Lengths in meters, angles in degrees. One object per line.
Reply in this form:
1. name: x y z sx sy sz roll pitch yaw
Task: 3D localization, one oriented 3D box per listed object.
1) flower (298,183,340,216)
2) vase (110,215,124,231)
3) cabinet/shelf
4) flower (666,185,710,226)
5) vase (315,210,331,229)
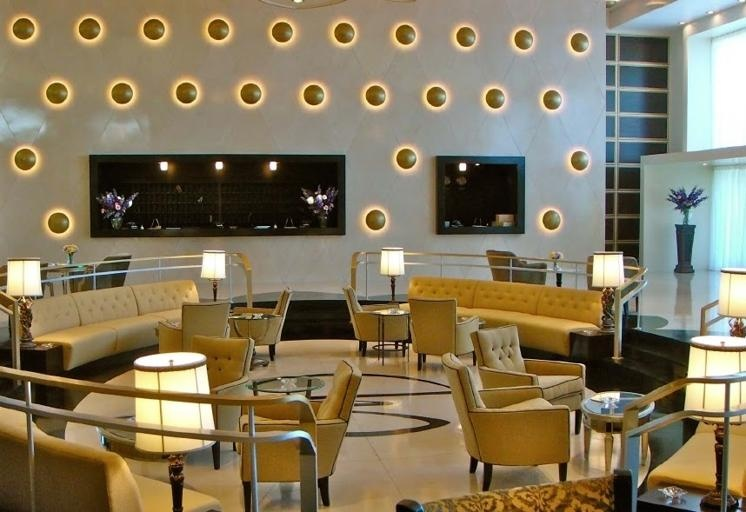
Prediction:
1. flower: -1.159 -1.226 13.865 0.723 0.727 0.877 -1 2 -9
2. vase: -5.355 -0.690 13.355 0.276 0.332 0.275 15 -5 -30
3. cabinet/shelf: -3.470 -1.154 14.049 3.799 0.976 0.245 -1 3 -6
4. flower: 7.923 -1.323 15.772 0.984 1.038 0.985 0 -3 -33
5. vase: -1.110 -0.807 13.749 0.342 0.417 0.363 -2 4 -12
